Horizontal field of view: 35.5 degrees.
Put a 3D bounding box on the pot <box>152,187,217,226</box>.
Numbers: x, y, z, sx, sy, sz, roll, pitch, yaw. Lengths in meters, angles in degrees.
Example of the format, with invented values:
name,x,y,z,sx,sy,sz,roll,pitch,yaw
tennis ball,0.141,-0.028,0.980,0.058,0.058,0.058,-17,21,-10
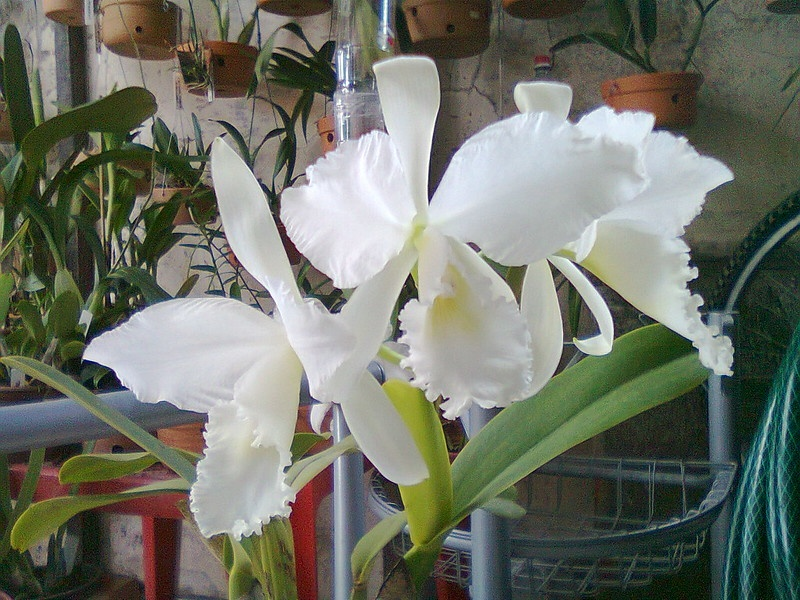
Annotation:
name,x,y,z,sx,sy,sz,roll,pitch,yaw
pot,-0.500,-0.221,2.995,0.135,0.091,0.141,-2,2,0

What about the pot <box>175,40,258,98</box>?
name,x,y,z,sx,sy,sz,roll,pitch,yaw
pot,-0.440,-0.588,3.199,0.162,0.087,0.170,-4,-2,0

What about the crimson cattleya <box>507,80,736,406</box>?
name,x,y,z,sx,sy,sz,roll,pitch,yaw
crimson cattleya,0.293,-0.099,1.987,0.412,0.435,0.215,-16,29,12

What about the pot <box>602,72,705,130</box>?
name,x,y,z,sx,sy,sz,roll,pitch,yaw
pot,0.603,-0.466,3.066,0.249,0.137,0.264,-7,0,0
